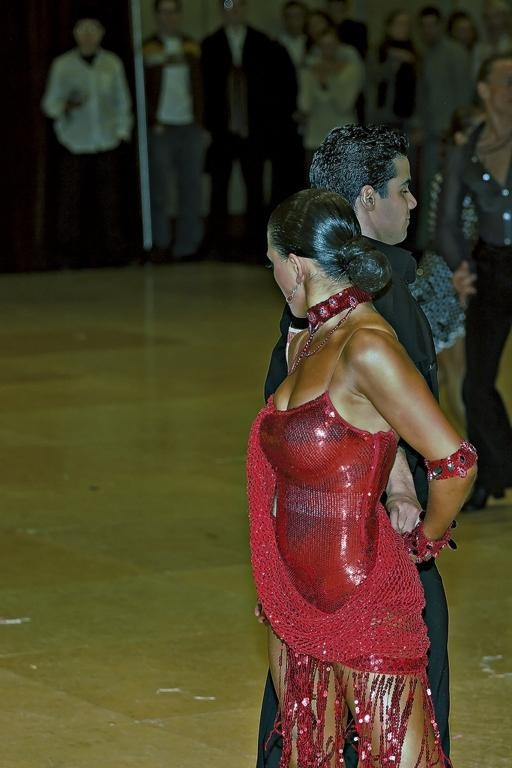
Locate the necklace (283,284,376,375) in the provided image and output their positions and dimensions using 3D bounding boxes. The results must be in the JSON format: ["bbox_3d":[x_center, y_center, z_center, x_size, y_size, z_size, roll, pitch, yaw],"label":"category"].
[{"bbox_3d":[0.111,-0.076,1.277,0.087,0.148,0.040,38,0,35],"label":"necklace"}]
